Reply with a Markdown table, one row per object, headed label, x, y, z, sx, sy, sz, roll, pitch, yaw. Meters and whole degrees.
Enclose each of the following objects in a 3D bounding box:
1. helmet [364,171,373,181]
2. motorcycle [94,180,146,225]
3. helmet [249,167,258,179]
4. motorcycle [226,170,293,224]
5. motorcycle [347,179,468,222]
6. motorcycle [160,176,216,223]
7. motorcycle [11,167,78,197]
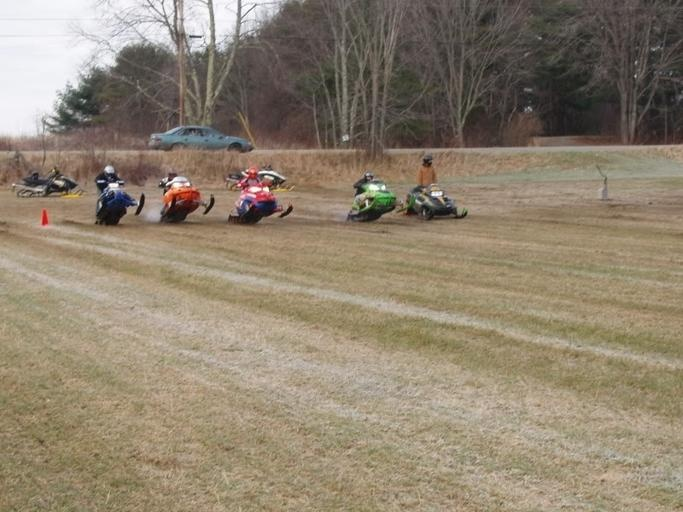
| label | x | y | z | sx | sy | sz | roll | pitch | yaw |
| --- | --- | --- | --- | --- | --- | --- | --- | --- | --- |
| helmet | 0.728 | -2.033 | 19.337 | 0.161 | 0.205 | 0.199 | 0 | -11 | -27 |
| motorcycle | -5.273 | -1.169 | 17.879 | 0.649 | 0.883 | 1.536 | -4 | -3 | -30 |
| helmet | -2.042 | -1.974 | 18.052 | 0.180 | 0.246 | 0.242 | 7 | 21 | 14 |
| motorcycle | -2.022 | -1.355 | 18.413 | 0.883 | 0.952 | 1.935 | -3 | -4 | -15 |
| motorcycle | 1.634 | -1.356 | 19.760 | 2.484 | 0.845 | 1.417 | -1 | 6 | -13 |
| motorcycle | -3.892 | -1.324 | 18.534 | 0.669 | 0.851 | 2.062 | -2 | -1 | -18 |
| motorcycle | -10.030 | -2.357 | 25.234 | 2.549 | 1.137 | 1.200 | -2 | 13 | 0 |
